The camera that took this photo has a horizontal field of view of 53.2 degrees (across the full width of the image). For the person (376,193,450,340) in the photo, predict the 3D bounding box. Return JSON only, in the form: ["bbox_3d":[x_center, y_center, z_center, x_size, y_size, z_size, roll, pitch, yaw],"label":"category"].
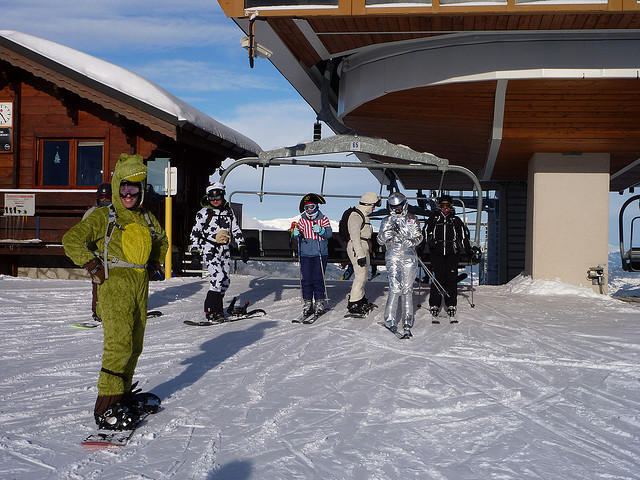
[{"bbox_3d":[1.227,0.368,10.348,0.692,2.267,1.548,2,10,8],"label":"person"}]

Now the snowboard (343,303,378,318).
[{"bbox_3d":[0.622,1.252,11.453,0.644,0.291,0.203,-10,-8,36],"label":"snowboard"}]

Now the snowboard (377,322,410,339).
[{"bbox_3d":[1.103,1.429,10.097,0.127,0.048,0.621,-22,17,-19],"label":"snowboard"}]

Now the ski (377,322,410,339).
[{"bbox_3d":[1.088,1.393,10.168,0.129,0.077,0.770,15,7,-25],"label":"ski"}]

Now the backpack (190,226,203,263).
[{"bbox_3d":[-2.046,0.097,10.757,0.167,0.586,0.302,-2,10,-11],"label":"backpack"}]

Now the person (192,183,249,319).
[{"bbox_3d":[-1.743,0.160,10.899,0.684,2.238,0.730,5,11,25],"label":"person"}]

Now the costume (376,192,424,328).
[{"bbox_3d":[1.207,0.354,10.107,0.633,2.158,0.715,-2,10,-13],"label":"costume"}]

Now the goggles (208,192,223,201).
[{"bbox_3d":[-1.752,-0.737,10.829,0.235,0.147,0.145,-1,10,-6],"label":"goggles"}]

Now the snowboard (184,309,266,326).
[{"bbox_3d":[-1.592,1.330,10.949,0.215,0.156,1.423,7,5,37],"label":"snowboard"}]

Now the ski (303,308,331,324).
[{"bbox_3d":[-0.074,1.330,11.415,0.135,0.058,1.196,9,9,11],"label":"ski"}]

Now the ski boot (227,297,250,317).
[{"bbox_3d":[-1.400,1.261,11.343,0.343,0.383,0.309,23,-16,8],"label":"ski boot"}]

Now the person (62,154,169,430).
[{"bbox_3d":[-2.152,0.514,6.888,0.701,2.796,0.950,3,11,16],"label":"person"}]

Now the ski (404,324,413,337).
[{"bbox_3d":[1.287,1.393,9.892,0.097,0.195,0.206,-1,-30,2],"label":"ski"}]

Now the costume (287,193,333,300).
[{"bbox_3d":[-0.186,0.121,11.376,0.678,1.855,0.463,0,10,0],"label":"costume"}]
